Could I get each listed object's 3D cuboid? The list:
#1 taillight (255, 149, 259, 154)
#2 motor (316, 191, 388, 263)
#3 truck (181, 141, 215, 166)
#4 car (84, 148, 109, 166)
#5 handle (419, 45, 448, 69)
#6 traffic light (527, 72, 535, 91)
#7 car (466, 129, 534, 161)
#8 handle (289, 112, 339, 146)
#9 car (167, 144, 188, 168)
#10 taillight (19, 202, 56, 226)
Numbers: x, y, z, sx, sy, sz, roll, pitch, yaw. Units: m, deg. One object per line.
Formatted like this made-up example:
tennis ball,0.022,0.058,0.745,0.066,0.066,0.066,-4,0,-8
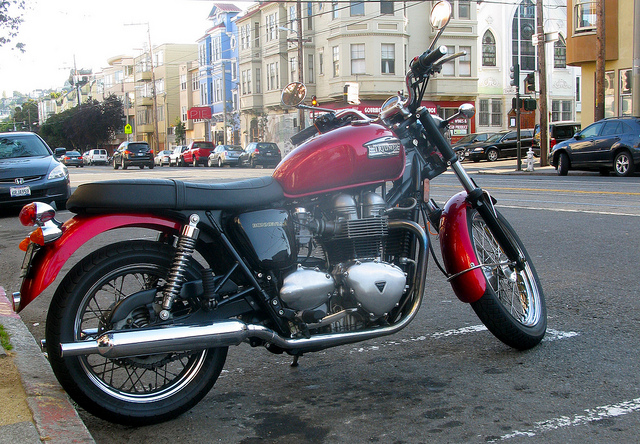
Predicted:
taillight,-4.019,-4.576,39.380,0.198,0.278,0.085,-1,-10,15
motor,0.204,0.012,4.495,0.467,0.524,0.492,-3,2,-12
truck,-9.969,-5.575,49.879,1.636,1.329,3.040,-4,8,-26
car,-24.454,-7.177,67.492,1.713,1.456,2.961,-1,8,-28
handle,0.851,-1.241,4.596,0.103,0.095,0.260,-49,2,-8
traffic light,8.408,-5.600,24.368,0.235,0.609,0.626,2,-1,9
car,10.434,-4.573,35.695,4.233,1.536,1.814,-2,2,-13
handle,-0.053,-0.701,4.654,0.390,0.154,0.102,-25,13,6
car,-12.381,-5.791,53.626,1.436,1.428,2.916,-3,9,-22
taillight,-1.737,-0.056,3.777,0.173,0.142,0.142,-6,8,-16
